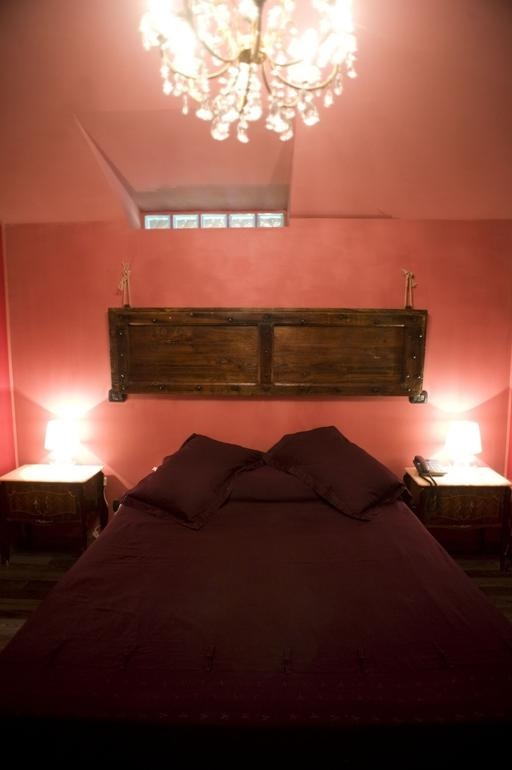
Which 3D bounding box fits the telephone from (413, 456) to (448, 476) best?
[{"bbox_3d":[1.035,0.496,3.735,0.110,0.154,0.039,-3,-74,8],"label":"telephone"}]
